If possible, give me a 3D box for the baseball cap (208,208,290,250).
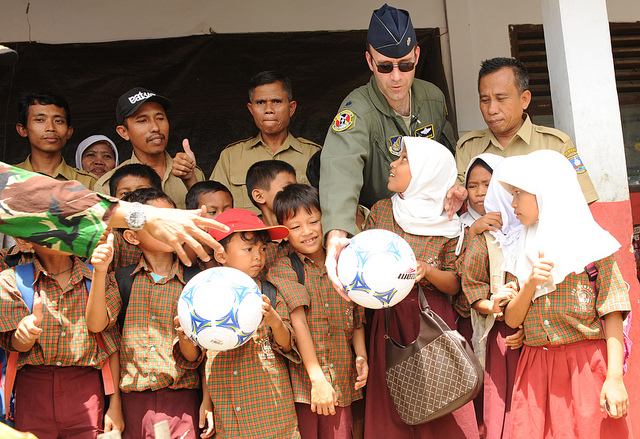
[{"bbox_3d":[-0.464,0.032,3.506,0.488,0.211,0.358,-12,-6,15],"label":"baseball cap"}]

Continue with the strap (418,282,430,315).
[{"bbox_3d":[0.645,0.488,3.426,0.026,0.184,0.053,-23,-15,36],"label":"strap"}]

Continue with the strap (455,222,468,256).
[{"bbox_3d":[0.931,0.113,3.646,0.051,0.241,0.041,8,-18,17],"label":"strap"}]

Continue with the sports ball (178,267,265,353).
[{"bbox_3d":[-0.511,0.466,3.155,0.432,0.448,0.425,0,4,0],"label":"sports ball"}]

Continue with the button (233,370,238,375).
[{"bbox_3d":[-0.501,0.905,3.279,0.021,0.022,0.005,7,-7,4],"label":"button"}]

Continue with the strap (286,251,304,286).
[{"bbox_3d":[-0.141,0.305,3.527,0.122,0.173,0.148,-2,-39,-22],"label":"strap"}]

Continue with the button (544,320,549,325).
[{"bbox_3d":[1.343,0.606,3.281,0.025,0.026,0.007,-5,4,21],"label":"button"}]

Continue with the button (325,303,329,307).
[{"bbox_3d":[0.041,0.540,3.501,0.021,0.022,0.005,0,-7,-17],"label":"button"}]

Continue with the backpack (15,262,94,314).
[{"bbox_3d":[-1.544,0.386,3.304,0.328,0.319,0.244,16,-11,29],"label":"backpack"}]

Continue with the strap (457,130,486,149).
[{"bbox_3d":[1.230,-0.649,4.490,0.225,0.131,0.175,-6,4,16],"label":"strap"}]

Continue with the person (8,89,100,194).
[{"bbox_3d":[-2.442,-0.618,4.939,1.062,0.990,0.523,-3,0,-38],"label":"person"}]

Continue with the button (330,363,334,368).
[{"bbox_3d":[0.070,0.892,3.392,0.027,0.027,0.006,0,-5,-19],"label":"button"}]

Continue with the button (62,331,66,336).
[{"bbox_3d":[-1.491,0.663,3.231,0.019,0.021,0.006,-8,4,-25],"label":"button"}]

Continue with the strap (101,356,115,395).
[{"bbox_3d":[-1.257,0.926,3.284,0.055,0.195,0.073,-8,4,-24],"label":"strap"}]

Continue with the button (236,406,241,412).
[{"bbox_3d":[-0.477,1.102,3.233,0.025,0.026,0.006,4,-7,6],"label":"button"}]

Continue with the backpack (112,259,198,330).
[{"bbox_3d":[-0.995,0.465,3.312,0.235,0.451,0.387,-19,-16,38],"label":"backpack"}]

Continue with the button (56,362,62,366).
[{"bbox_3d":[-1.515,0.832,3.213,0.021,0.022,0.005,5,-3,-1],"label":"button"}]

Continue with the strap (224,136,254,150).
[{"bbox_3d":[-0.735,-0.735,5.254,0.169,0.053,0.217,-21,7,11],"label":"strap"}]

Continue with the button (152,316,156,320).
[{"bbox_3d":[-1.002,0.592,3.352,0.020,0.016,0.008,-8,4,-18],"label":"button"}]

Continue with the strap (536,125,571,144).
[{"bbox_3d":[1.771,-0.644,4.197,0.242,0.160,0.131,-3,5,42],"label":"strap"}]

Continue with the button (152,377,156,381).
[{"bbox_3d":[-0.970,0.930,3.245,0.019,0.018,0.006,-7,4,-11],"label":"button"}]

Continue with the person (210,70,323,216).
[{"bbox_3d":[-0.405,-0.657,5.011,1.491,1.291,0.505,0,4,3],"label":"person"}]

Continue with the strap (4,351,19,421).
[{"bbox_3d":[-1.775,0.953,3.207,0.049,0.396,0.054,12,-8,-29],"label":"strap"}]

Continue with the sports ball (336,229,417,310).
[{"bbox_3d":[0.329,0.258,3.294,0.419,0.448,0.426,-7,0,0],"label":"sports ball"}]

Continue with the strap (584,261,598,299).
[{"bbox_3d":[1.623,0.338,3.306,0.051,0.173,0.121,-4,-8,11],"label":"strap"}]

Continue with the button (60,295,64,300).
[{"bbox_3d":[-1.534,0.459,3.291,0.014,0.020,0.007,5,-3,1],"label":"button"}]

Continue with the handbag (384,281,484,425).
[{"bbox_3d":[0.609,0.797,3.496,0.599,0.924,0.280,-33,-32,22],"label":"handbag"}]

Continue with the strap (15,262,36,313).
[{"bbox_3d":[-1.719,0.391,3.257,0.104,0.283,0.133,-9,5,-30],"label":"strap"}]
